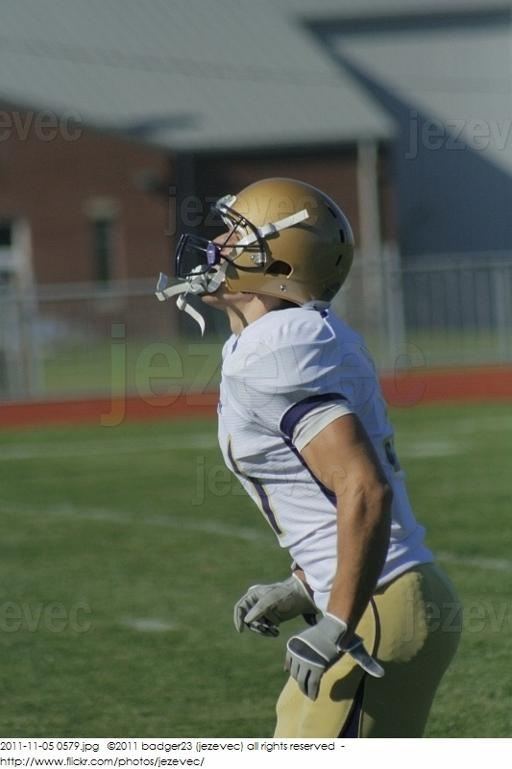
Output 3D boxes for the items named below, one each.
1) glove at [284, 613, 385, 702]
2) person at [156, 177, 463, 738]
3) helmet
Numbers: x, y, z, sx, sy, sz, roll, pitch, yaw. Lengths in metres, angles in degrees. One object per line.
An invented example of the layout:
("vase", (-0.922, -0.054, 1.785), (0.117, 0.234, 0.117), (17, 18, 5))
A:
("glove", (0.151, 0.644, 2.990), (0.263, 0.172, 0.166), (4, 14, -30))
("person", (0.184, 0.203, 3.201), (0.599, 1.454, 0.703), (-6, 13, -8))
("helmet", (0.035, -0.398, 3.435), (0.547, 0.350, 0.374), (2, 13, 1))
